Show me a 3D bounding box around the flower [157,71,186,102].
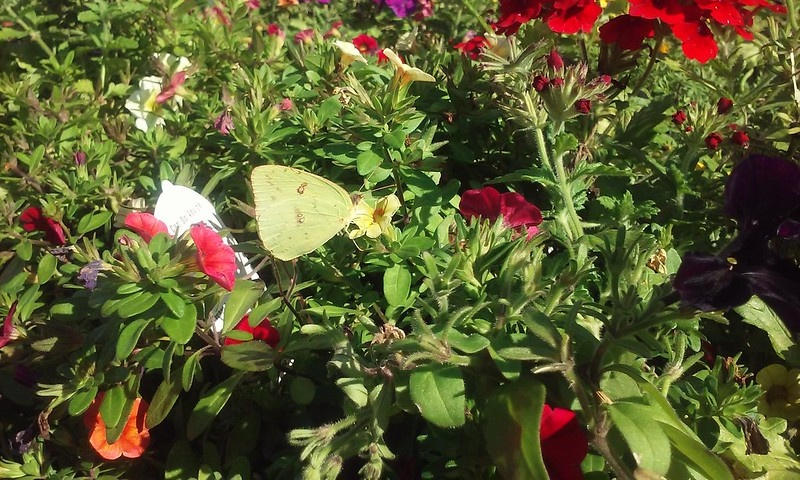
[{"bbox_3d":[-0.930,-0.627,2.656,0.098,0.045,0.145,32,-67,-3],"label":"flower"}]

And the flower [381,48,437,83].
[{"bbox_3d":[0.018,-0.644,2.324,0.182,0.134,0.089,17,-59,-34],"label":"flower"}]

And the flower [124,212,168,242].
[{"bbox_3d":[-0.841,-0.049,2.145,0.112,0.111,0.055,19,-42,-29],"label":"flower"}]

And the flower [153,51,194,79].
[{"bbox_3d":[-0.987,-0.761,2.801,0.165,0.151,0.069,0,-53,-32],"label":"flower"}]

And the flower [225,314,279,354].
[{"bbox_3d":[-0.488,0.311,2.225,0.157,0.098,0.129,14,-18,-10],"label":"flower"}]

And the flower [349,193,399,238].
[{"bbox_3d":[-0.076,-0.061,2.174,0.149,0.149,0.063,17,-23,40],"label":"flower"}]
